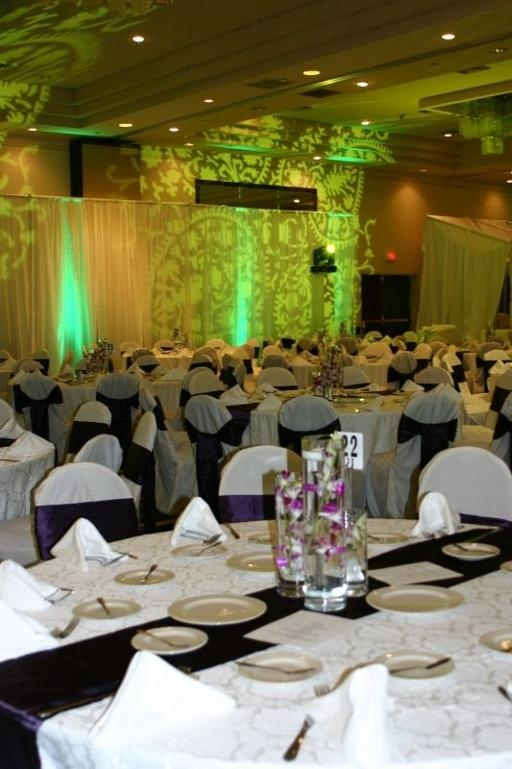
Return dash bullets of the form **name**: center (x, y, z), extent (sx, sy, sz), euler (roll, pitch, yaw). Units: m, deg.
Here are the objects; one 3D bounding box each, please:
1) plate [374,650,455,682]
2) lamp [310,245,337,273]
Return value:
- **plate**: center (0.282, 0.497, 0.973), extent (0.079, 0.013, 0.081), euler (-3, 2, 22)
- **lamp**: center (1.750, -3.304, 14.520), extent (0.614, 0.717, 0.466), euler (0, 0, 19)
